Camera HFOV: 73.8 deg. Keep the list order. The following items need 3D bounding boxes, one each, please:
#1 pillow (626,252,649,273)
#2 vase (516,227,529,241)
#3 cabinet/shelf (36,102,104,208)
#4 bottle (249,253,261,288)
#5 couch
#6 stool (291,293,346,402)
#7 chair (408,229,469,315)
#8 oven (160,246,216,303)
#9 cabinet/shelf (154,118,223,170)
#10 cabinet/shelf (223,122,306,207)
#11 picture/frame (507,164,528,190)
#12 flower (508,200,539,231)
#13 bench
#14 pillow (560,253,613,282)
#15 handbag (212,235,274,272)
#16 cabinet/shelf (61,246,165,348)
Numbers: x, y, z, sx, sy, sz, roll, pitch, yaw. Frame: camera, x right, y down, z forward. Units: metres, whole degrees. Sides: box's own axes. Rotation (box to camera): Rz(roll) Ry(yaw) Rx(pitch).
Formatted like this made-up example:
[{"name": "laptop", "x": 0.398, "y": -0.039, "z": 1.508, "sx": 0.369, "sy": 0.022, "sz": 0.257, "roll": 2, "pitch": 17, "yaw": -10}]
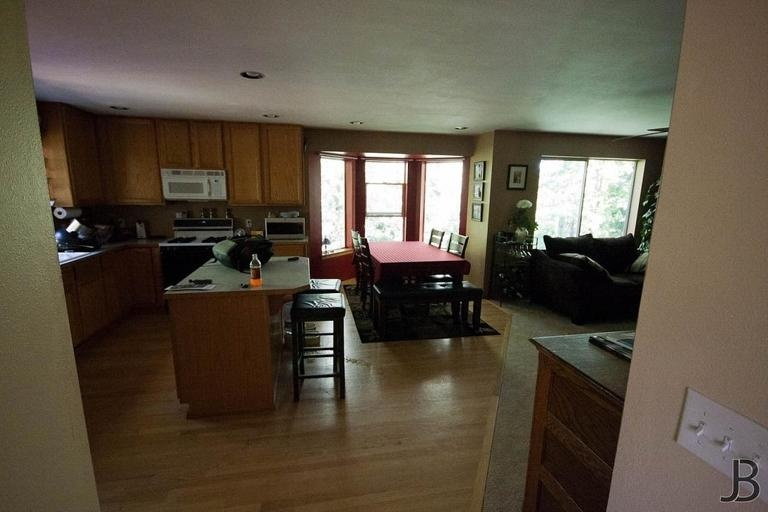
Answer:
[{"name": "pillow", "x": 2.783, "y": 0.073, "z": 5.678, "sx": 0.067, "sy": 0.210, "sz": 0.168, "roll": 27, "pitch": 2, "yaw": -23}, {"name": "vase", "x": 1.667, "y": -0.271, "z": 6.268, "sx": 0.166, "sy": 0.165, "sz": 0.154, "roll": 1, "pitch": 1, "yaw": 11}, {"name": "cabinet/shelf", "x": -3.138, "y": -1.015, "z": 5.189, "sx": 0.244, "sy": 0.982, "sz": 0.621, "roll": 2, "pitch": 11, "yaw": 13}, {"name": "bottle", "x": -0.962, "y": 0.099, "z": 3.796, "sx": 0.082, "sy": 0.211, "sz": 0.208, "roll": -3, "pitch": 11, "yaw": -12}, {"name": "couch", "x": 2.320, "y": 0.323, "z": 5.975, "sx": 1.360, "sy": 0.806, "sz": 0.872, "roll": -2, "pitch": 9, "yaw": -13}, {"name": "stool", "x": -0.554, "y": 0.673, "z": 4.270, "sx": 0.438, "sy": 0.782, "sz": 0.898, "roll": -2, "pitch": 10, "yaw": -5}, {"name": "chair", "x": 0.654, "y": 0.009, "z": 5.939, "sx": 0.715, "sy": 0.985, "sz": 0.589, "roll": -2, "pitch": 8, "yaw": -21}, {"name": "oven", "x": -2.217, "y": 0.055, "z": 5.757, "sx": 0.610, "sy": 0.504, "sz": 0.383, "roll": 0, "pitch": 12, "yaw": -17}, {"name": "cabinet/shelf", "x": -2.225, "y": -1.272, "z": 5.702, "sx": 0.555, "sy": 0.441, "sz": 0.200, "roll": -3, "pitch": 13, "yaw": -17}, {"name": "cabinet/shelf", "x": -1.389, "y": -1.104, "z": 6.141, "sx": 0.925, "sy": 0.953, "sz": 0.350, "roll": 3, "pitch": 15, "yaw": 7}, {"name": "picture/frame", "x": 1.658, "y": -1.009, "z": 6.440, "sx": 0.333, "sy": 0.350, "sz": 0.028, "roll": -3, "pitch": 13, "yaw": -16}, {"name": "flower", "x": 1.741, "y": -0.514, "z": 6.477, "sx": 0.342, "sy": 0.404, "sz": 0.483, "roll": 2, "pitch": 10, "yaw": 13}, {"name": "bench", "x": 0.452, "y": 0.515, "z": 5.420, "sx": 1.137, "sy": 0.491, "sz": 0.665, "roll": -2, "pitch": 10, "yaw": -10}, {"name": "pillow", "x": 2.248, "y": 0.184, "z": 5.546, "sx": 0.355, "sy": 0.102, "sz": 0.358, "roll": 21, "pitch": 3, "yaw": -17}, {"name": "handbag", "x": -1.145, "y": -0.042, "z": 4.178, "sx": 0.366, "sy": 0.185, "sz": 0.318, "roll": -2, "pitch": 6, "yaw": -33}, {"name": "cabinet/shelf", "x": -2.627, "y": 0.367, "z": 4.910, "sx": 0.474, "sy": 0.546, "sz": 0.882, "roll": -5, "pitch": 14, "yaw": -16}]
